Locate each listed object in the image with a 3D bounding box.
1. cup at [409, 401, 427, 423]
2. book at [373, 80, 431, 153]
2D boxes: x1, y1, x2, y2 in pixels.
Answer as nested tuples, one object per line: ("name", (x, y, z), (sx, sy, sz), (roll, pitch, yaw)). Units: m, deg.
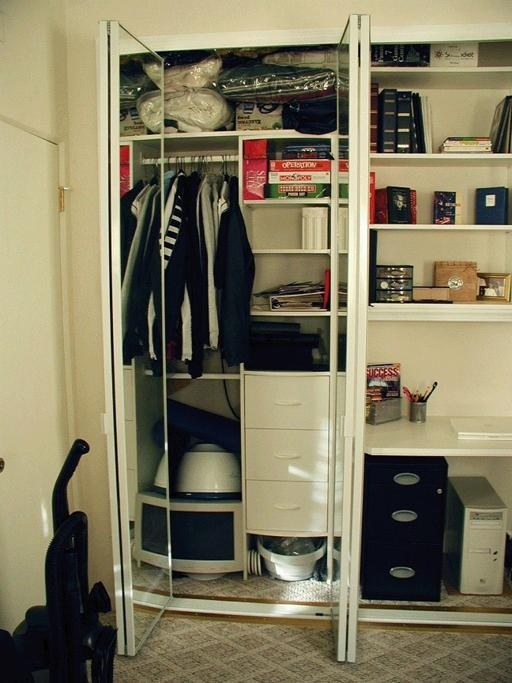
("cup", (0.761, 0.332, 3.111), (0.089, 0.104, 0.092), (-1, 4, 0))
("book", (0.596, -0.916, 2.814), (0.240, 0.340, 0.339), (-2, 14, 3))
